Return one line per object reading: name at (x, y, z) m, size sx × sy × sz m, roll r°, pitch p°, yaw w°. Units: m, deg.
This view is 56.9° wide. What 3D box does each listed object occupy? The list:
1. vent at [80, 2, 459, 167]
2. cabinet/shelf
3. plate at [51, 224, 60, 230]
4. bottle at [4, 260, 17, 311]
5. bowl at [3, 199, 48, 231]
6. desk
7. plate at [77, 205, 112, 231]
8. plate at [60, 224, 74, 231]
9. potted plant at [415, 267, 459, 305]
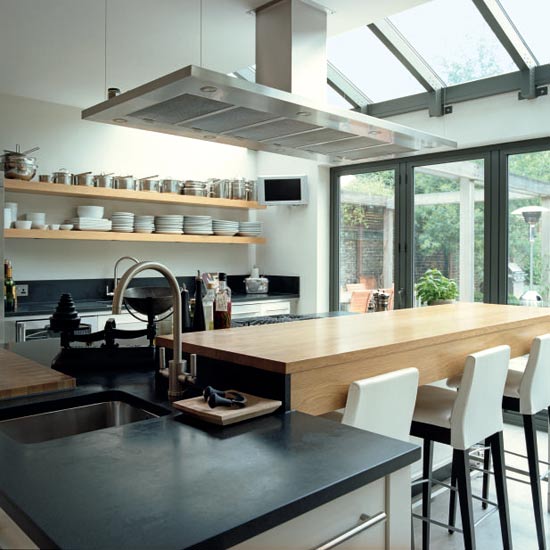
vent at (0.052, -1.358, 3.493) m, size 0.856 × 0.463 × 1.695 m, roll -3°, pitch -2°, yaw 45°
cabinet/shelf at (-1.342, -0.559, 4.905) m, size 2.464 × 0.529 × 0.506 m, roll -4°, pitch 7°, yaw -39°
plate at (-1.873, -0.398, 4.330) m, size 0.067 × 0.037 × 0.063 m, roll -3°, pitch 6°, yaw -28°
bottle at (-2.133, 0.089, 4.068) m, size 0.076 × 0.379 × 0.450 m, roll -3°, pitch 6°, yaw -28°
bowl at (-2.005, -0.483, 4.208) m, size 0.387 × 0.199 × 0.198 m, roll 0°, pitch 5°, yaw -4°
desk at (0.430, 0.307, 2.188) m, size 1.750 × 0.265 × 0.637 m, roll -5°, pitch 7°, yaw -44°
plate at (-1.665, -0.491, 4.629) m, size 0.294 × 0.181 × 0.262 m, roll -1°, pitch 0°, yaw -27°
plate at (-1.829, -0.415, 4.418) m, size 0.092 × 0.037 × 0.089 m, roll -2°, pitch -3°, yaw 35°
potted plant at (1.364, 0.116, 4.342) m, size 0.389 × 0.332 × 0.407 m, roll 2°, pitch -5°, yaw -43°
